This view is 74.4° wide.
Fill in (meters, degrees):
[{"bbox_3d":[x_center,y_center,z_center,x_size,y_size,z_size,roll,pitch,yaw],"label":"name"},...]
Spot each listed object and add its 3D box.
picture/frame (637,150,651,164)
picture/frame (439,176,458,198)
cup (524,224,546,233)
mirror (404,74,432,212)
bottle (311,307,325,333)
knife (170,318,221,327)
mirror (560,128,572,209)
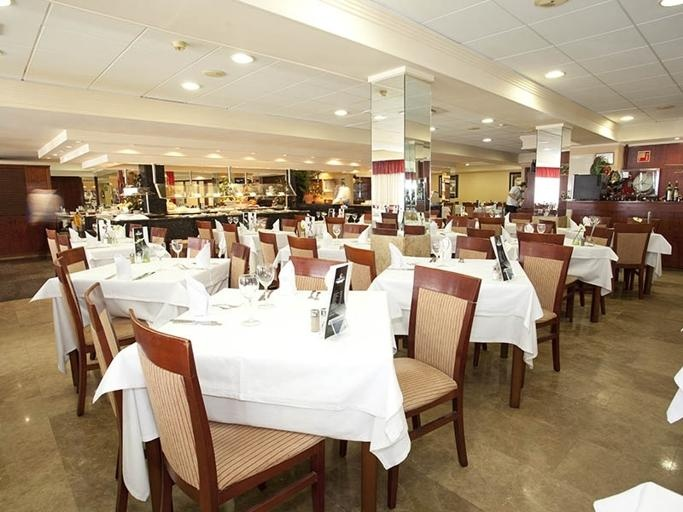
[{"bbox_3d":[7.930,-2.620,11.803,0.297,0.328,0.031,3,10,28],"label":"picture/frame"},{"bbox_3d":[5.344,-3.516,22.568,1.173,0.965,0.098,-5,15,-30],"label":"picture/frame"},{"bbox_3d":[2.572,-0.372,5.990,0.241,0.171,0.253,0,8,0],"label":"cup"},{"bbox_3d":[0.985,-1.430,5.807,0.158,1.683,0.514,7,13,44],"label":"mirror"},{"bbox_3d":[-0.143,0.382,2.756,0.099,0.159,0.188,-3,9,-8],"label":"bottle"},{"bbox_3d":[-0.929,0.421,2.906,0.348,0.031,0.092,-1,9,11],"label":"knife"},{"bbox_3d":[4.981,-1.943,10.057,0.179,1.680,2.178,2,10,26],"label":"mirror"}]
